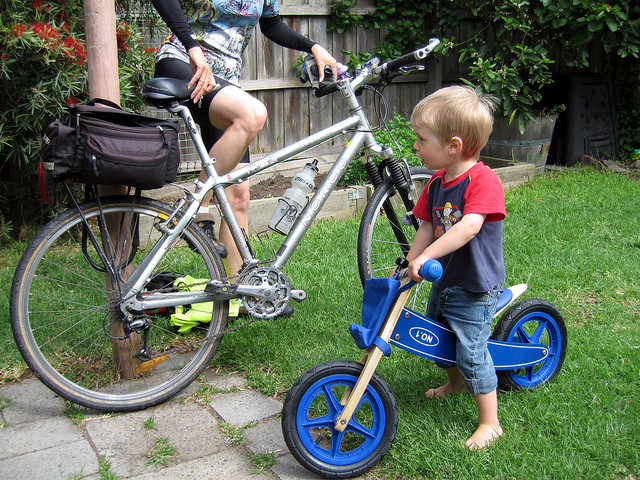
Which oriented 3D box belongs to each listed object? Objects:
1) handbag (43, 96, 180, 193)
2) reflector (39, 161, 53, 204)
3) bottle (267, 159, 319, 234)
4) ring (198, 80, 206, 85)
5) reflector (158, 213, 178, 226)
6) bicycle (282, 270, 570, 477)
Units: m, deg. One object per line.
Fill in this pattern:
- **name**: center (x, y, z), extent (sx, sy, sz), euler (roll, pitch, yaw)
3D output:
- **handbag**: center (-0.942, -0.479, 2.644), extent (0.532, 0.404, 0.322), euler (0, 12, -21)
- **reflector**: center (-1.302, -0.279, 2.541), extent (0.041, 0.224, 0.154), euler (-6, 19, -27)
- **bottle**: center (-0.131, -0.275, 3.114), extent (0.150, 0.474, 0.151), euler (26, -4, 2)
- **ring**: center (-0.615, -0.840, 2.791), extent (0.036, 0.040, 0.012), euler (11, 19, 2)
- **reflector**: center (-0.788, -0.123, 2.771), extent (0.063, 0.017, 0.068), euler (26, 8, -12)
- **bicycle**: center (0.469, 0.511, 2.474), extent (1.412, 0.826, 0.457), euler (-6, 19, -25)
